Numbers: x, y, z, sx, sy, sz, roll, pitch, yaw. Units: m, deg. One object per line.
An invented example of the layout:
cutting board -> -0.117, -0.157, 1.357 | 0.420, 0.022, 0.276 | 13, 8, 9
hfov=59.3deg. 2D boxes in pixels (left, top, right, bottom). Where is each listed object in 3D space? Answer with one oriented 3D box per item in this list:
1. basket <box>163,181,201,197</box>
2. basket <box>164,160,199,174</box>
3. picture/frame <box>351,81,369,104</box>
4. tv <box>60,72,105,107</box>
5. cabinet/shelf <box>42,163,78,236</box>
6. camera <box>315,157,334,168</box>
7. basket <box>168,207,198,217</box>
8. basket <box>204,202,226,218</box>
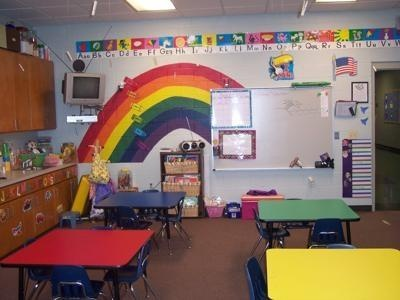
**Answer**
basket -> -0.371, 0.786, 7.298 | 0.533, 0.214, 0.355 | 1, 1, 6
basket -> -0.382, 0.358, 7.356 | 0.713, 0.273, 0.134 | -1, 8, 2
picture/frame -> 3.271, -1.206, 7.217 | 0.412, 0.533, 0.033 | -1, 1, -1
tv -> -2.382, -1.062, 7.272 | 0.945, 0.817, 0.558 | -2, 9, -23
cabinet/shelf -> -2.596, 0.901, 6.423 | 0.400, 0.962, 1.112 | 0, 12, 0
camera -> 2.578, 0.281, 7.290 | 0.291, 0.201, 0.121 | -4, 10, 5
basket -> -0.330, 1.168, 6.713 | 0.497, 0.214, 0.367 | 0, -1, -1
basket -> 0.320, 1.270, 7.388 | 0.346, 0.257, 0.294 | 0, -7, 1
